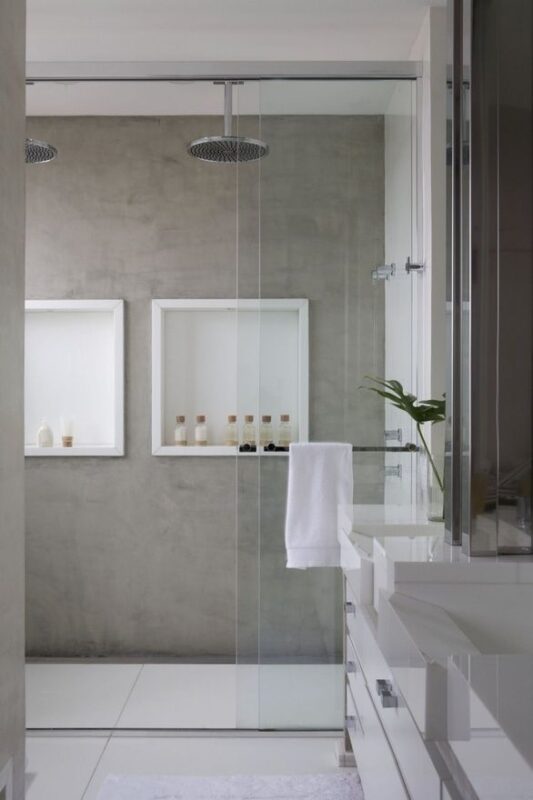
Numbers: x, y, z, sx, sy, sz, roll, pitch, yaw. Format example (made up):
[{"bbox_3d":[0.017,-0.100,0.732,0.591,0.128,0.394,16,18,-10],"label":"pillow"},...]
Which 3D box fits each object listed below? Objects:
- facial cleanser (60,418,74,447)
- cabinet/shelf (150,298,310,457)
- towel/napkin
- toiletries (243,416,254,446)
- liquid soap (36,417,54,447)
[{"bbox_3d":[-0.806,0.125,3.364,0.051,0.114,0.092,-1,3,-17],"label":"facial cleanser"},{"bbox_3d":[-0.145,-0.091,2.965,0.344,0.605,0.153,0,0,3],"label":"cabinet/shelf"},{"bbox_3d":[0.166,0.313,2.582,0.217,0.566,0.081,0,38,1],"label":"towel/napkin"},{"bbox_3d":[-0.057,0.091,2.619,0.035,0.095,0.040,0,2,-4],"label":"toiletries"},{"bbox_3d":[-0.890,0.119,3.354,0.058,0.194,0.078,0,-3,-7],"label":"liquid soap"}]
